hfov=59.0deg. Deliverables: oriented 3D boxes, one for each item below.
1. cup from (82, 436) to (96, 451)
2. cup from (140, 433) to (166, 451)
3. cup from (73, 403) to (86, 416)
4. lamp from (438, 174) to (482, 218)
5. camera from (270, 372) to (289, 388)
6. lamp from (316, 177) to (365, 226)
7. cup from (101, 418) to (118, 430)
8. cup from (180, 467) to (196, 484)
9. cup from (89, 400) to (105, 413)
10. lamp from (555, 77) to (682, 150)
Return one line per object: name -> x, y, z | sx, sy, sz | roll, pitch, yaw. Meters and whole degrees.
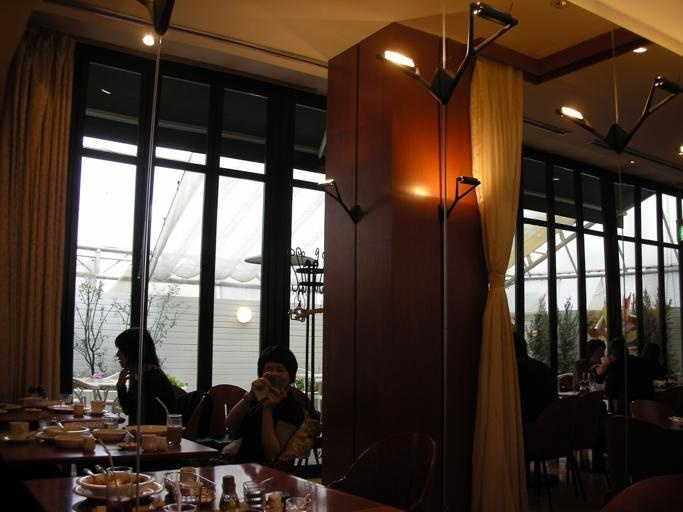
cup -> -1.352, 1.010, 3.243 | 0.059, 0.068, 0.064 | 5, -2, 0
cup -> -1.035, 1.029, 3.307 | 0.120, 0.072, 0.078 | 14, -19, -36
cup -> -1.920, 1.126, 4.391 | 0.084, 0.096, 0.086 | 0, -10, 0
lamp -> 0.929, -0.443, 4.475 | 0.332, 0.357, 0.306 | 6, -11, -18
camera -> -0.358, 0.716, 3.429 | 0.104, 0.075, 0.036 | 5, -10, -14
lamp -> -0.012, -0.421, 4.779 | 0.378, 0.485, 0.276 | -2, -6, -18
cup -> -1.462, 1.048, 3.790 | 0.074, 0.093, 0.087 | 3, 1, -10
cup -> -0.657, 0.943, 2.577 | 0.049, 0.052, 0.050 | 3, -6, 0
cup -> -1.802, 1.111, 4.468 | 0.128, 0.117, 0.108 | 7, -10, -21
lamp -> 1.895, -0.956, 4.039 | 0.209, 0.275, 0.499 | 5, -16, -41
